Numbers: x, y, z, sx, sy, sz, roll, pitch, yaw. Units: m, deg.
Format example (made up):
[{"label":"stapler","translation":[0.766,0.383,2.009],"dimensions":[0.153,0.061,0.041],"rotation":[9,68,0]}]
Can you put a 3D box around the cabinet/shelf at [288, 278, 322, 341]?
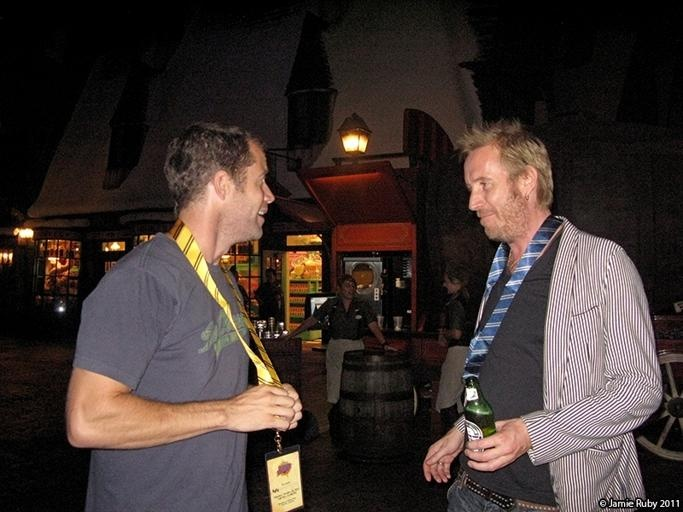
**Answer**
[{"label":"cabinet/shelf","translation":[-1.189,1.559,18.530],"dimensions":[0.995,1.636,0.986],"rotation":[0,-4,3]}]

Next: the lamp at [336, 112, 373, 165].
[{"label":"lamp","translation":[0.274,-2.267,11.125],"dimensions":[0.642,0.895,0.577],"rotation":[1,19,1]}]
